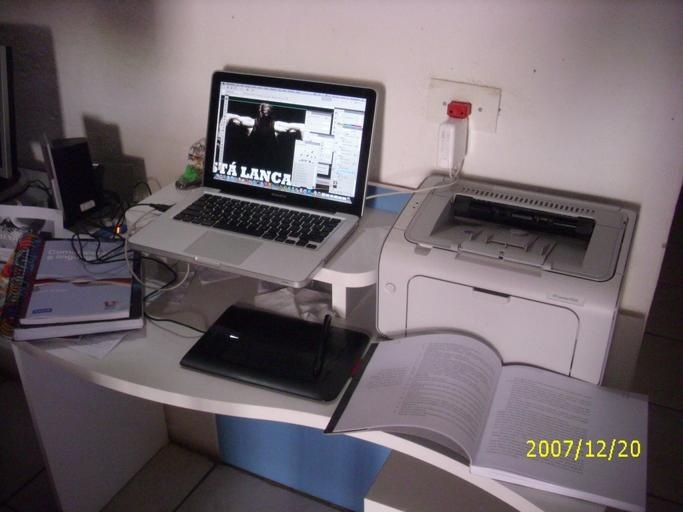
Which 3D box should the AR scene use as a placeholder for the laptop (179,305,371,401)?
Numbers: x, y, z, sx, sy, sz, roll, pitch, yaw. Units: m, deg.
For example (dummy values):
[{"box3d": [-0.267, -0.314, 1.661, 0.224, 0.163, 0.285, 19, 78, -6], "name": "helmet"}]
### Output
[{"box3d": [-0.147, 0.218, 1.214, 0.276, 0.099, 0.211, 15, 41, 15], "name": "laptop"}]
